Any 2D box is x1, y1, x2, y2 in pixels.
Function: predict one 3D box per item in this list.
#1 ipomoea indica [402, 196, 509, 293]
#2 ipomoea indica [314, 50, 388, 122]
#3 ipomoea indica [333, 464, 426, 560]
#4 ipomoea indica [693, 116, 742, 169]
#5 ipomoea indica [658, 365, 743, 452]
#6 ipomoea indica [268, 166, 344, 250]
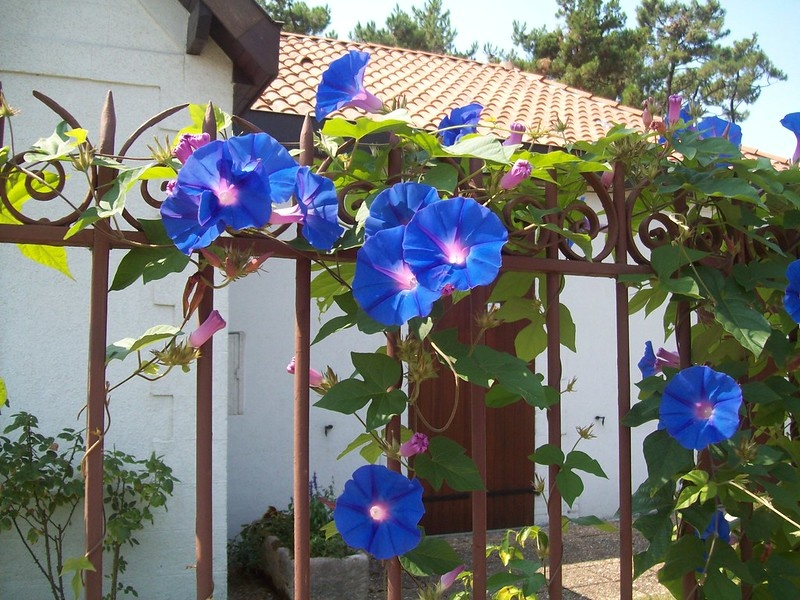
[{"bbox_3d":[0.167,-0.174,2.702,0.352,0.152,0.373,-22,-22,34],"label":"ipomoea indica"},{"bbox_3d":[-0.187,-0.697,2.943,0.255,0.121,0.217,-10,-17,43],"label":"ipomoea indica"},{"bbox_3d":[-0.060,0.675,2.789,0.252,0.320,0.120,7,-44,-3],"label":"ipomoea indica"},{"bbox_3d":[1.189,-0.597,3.209,0.153,0.208,0.294,-1,-9,22],"label":"ipomoea indica"},{"bbox_3d":[1.034,0.369,2.976,0.262,0.280,0.158,-1,-8,17],"label":"ipomoea indica"},{"bbox_3d":[-0.284,-0.267,2.807,0.220,0.251,0.218,-15,-3,-23],"label":"ipomoea indica"}]
